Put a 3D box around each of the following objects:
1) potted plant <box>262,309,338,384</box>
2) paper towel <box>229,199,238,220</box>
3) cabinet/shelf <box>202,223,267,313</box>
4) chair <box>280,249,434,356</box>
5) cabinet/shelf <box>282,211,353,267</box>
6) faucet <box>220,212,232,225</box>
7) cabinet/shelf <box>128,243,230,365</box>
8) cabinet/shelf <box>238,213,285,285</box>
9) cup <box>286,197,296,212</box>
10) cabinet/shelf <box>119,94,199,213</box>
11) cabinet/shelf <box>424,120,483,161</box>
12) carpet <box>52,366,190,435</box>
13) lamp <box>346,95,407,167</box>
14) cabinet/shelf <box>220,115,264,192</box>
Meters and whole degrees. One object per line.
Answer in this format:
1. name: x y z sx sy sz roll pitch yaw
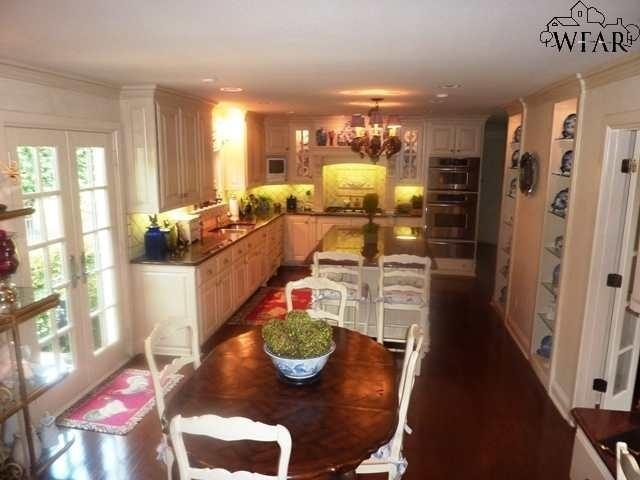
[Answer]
1. potted plant: -0.137 0.649 3.032 0.496 0.312 0.477 0 12 -2
2. paper towel: -1.493 -0.529 7.739 0.141 0.378 0.180 -3 12 -9
3. cabinet/shelf: -1.214 0.336 6.263 0.291 0.612 1.758 16 4 12
4. chair: 0.508 0.586 5.160 1.979 1.298 1.182 3 23 13
5. cabinet/shelf: 0.070 -0.049 8.766 1.326 1.047 0.450 3 20 33
6. faucet: -1.566 -0.354 7.534 0.163 0.194 0.414 -2 10 -4
7. cabinet/shelf: -1.586 0.686 4.869 0.708 1.090 1.226 0 13 4
8. cabinet/shelf: -0.986 0.155 7.335 0.404 0.608 1.188 -1 22 5
9. cup: -0.571 -0.737 8.985 0.223 0.303 0.496 -2 10 -4
10. cabinet/shelf: -1.855 -0.997 5.066 0.375 1.098 1.307 3 14 5
11. cabinet/shelf: 2.446 -1.713 8.282 1.252 0.741 0.618 3 13 14
12. carpet: -1.895 1.338 4.144 0.705 0.015 1.108 4 12 8
13. lamp: 0.739 -1.496 6.070 0.720 0.803 0.613 1 9 11
14. cabinet/shelf: -1.359 -1.499 7.622 0.424 1.106 1.247 2 15 4
